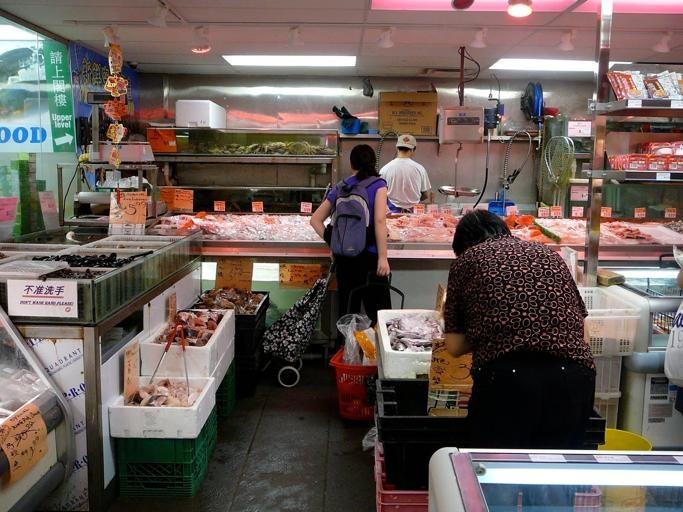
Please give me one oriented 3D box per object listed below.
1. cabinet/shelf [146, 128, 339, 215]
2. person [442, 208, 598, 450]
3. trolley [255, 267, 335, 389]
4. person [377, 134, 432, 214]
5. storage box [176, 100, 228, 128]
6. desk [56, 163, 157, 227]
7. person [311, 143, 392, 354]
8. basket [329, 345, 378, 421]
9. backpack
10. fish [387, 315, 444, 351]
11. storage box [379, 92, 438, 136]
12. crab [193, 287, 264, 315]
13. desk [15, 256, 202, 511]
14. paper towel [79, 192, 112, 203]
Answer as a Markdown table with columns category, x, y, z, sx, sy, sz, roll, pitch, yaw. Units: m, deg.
| category | x | y | z | sx | sy | sz | roll | pitch | yaw |
| --- | --- | --- | --- | --- | --- | --- | --- | --- | --- |
| cabinet/shelf | -1.367 | -1.279 | 8.063 | 3.848 | 1.213 | 1.108 | 3 | 12 | -1 |
| person | 0.761 | 0.256 | 2.453 | 0.576 | 0.973 | 0.496 | 5 | 10 | 9 |
| trolley | -0.391 | 0.505 | 4.554 | 0.573 | 0.935 | 0.622 | -3 | 17 | -44 |
| person | 0.715 | -0.911 | 6.375 | 0.618 | 0.939 | 0.534 | 4 | 13 | -4 |
| storage box | -1.945 | -1.959 | 7.653 | 0.575 | 0.383 | 0.596 | 3 | 13 | 2 |
| desk | -1.894 | -0.500 | 4.500 | 0.882 | 0.540 | 0.445 | 0 | 4 | -1 |
| person | 0.090 | -0.027 | 4.523 | 0.672 | 1.592 | 0.476 | 3 | 12 | 21 |
| basket | 0.082 | 0.911 | 3.760 | 0.488 | 0.427 | 0.546 | 0 | 5 | -4 |
| backpack | 0.129 | -0.313 | 4.340 | 0.399 | 0.603 | 0.289 | 3 | 14 | 4 |
| fish | 0.410 | 0.421 | 3.105 | 0.325 | 0.047 | 0.580 | 4 | 13 | 6 |
| storage box | 0.966 | -2.055 | 7.847 | 1.012 | 0.630 | 0.635 | 6 | 11 | 9 |
| crab | -0.832 | 0.293 | 4.570 | 0.709 | 0.151 | 0.683 | 3 | 10 | -1 |
| desk | -1.304 | 0.589 | 3.394 | 1.014 | 1.054 | 1.728 | 0 | 9 | -1 |
| paper towel | -2.001 | -0.483 | 4.477 | 0.192 | 0.038 | 0.125 | 1 | 25 | -7 |
